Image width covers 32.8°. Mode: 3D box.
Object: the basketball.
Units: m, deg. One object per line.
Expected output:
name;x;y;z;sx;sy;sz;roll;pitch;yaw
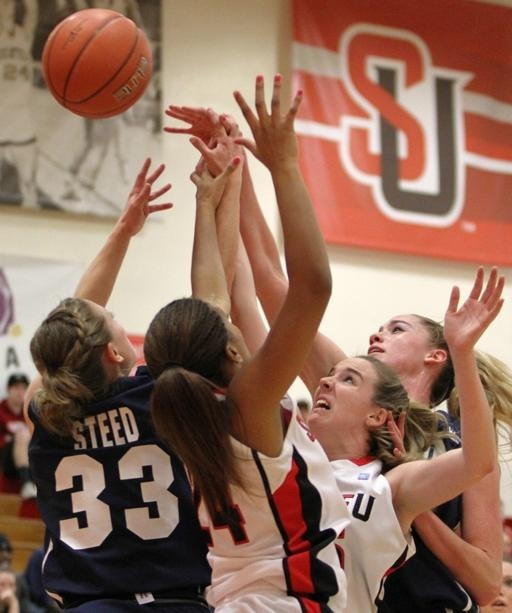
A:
basketball;-0.481;-0.732;2.767;0.321;0.335;0.325;28;31;-15
